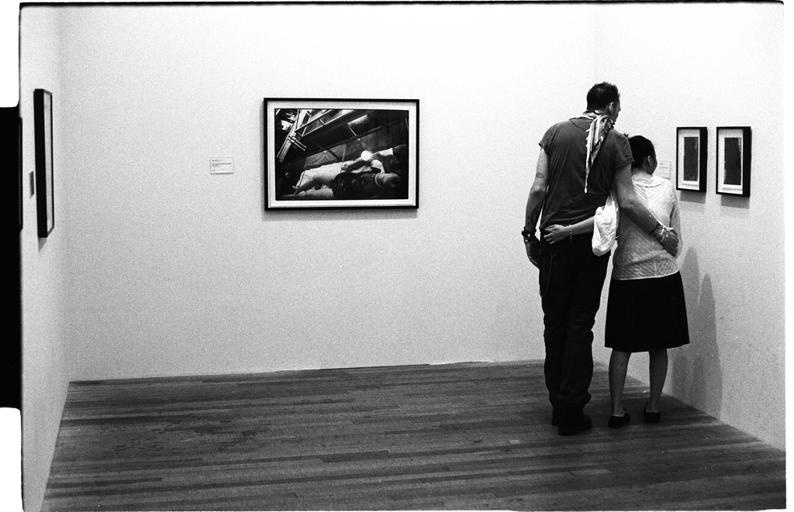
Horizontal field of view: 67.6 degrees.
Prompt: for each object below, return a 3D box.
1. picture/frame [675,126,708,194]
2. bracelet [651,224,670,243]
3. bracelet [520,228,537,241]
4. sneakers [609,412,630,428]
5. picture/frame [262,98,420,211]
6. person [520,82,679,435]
[{"bbox_3d":[2.181,-0.721,4.406,0.279,0.459,0.052,-2,4,-25],"label":"picture/frame"},{"bbox_3d":[1.821,-0.160,4.080,0.095,0.119,0.124,5,-5,13],"label":"bracelet"},{"bbox_3d":[0.972,-0.157,4.385,0.094,0.079,0.097,8,4,43],"label":"bracelet"},{"bbox_3d":[1.592,1.159,4.225,0.212,0.085,0.069,-2,2,-44],"label":"sneakers"},{"bbox_3d":[-0.577,-0.975,5.454,1.016,0.761,0.039,0,5,-3],"label":"picture/frame"},{"bbox_3d":[1.359,-0.008,4.251,0.759,2.403,0.551,-3,8,-17],"label":"person"}]
